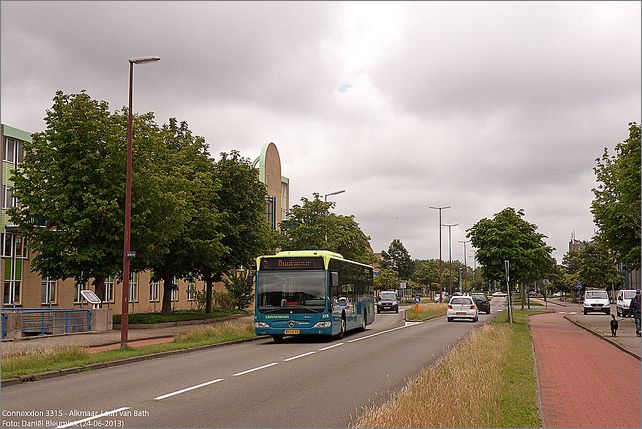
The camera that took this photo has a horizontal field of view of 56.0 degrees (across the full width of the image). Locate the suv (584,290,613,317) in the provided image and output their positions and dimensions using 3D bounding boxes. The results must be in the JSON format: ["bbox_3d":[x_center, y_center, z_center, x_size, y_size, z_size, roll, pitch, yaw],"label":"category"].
[{"bbox_3d":[23.655,7.336,51.712,2.033,2.241,2.872,-5,-12,23],"label":"suv"}]

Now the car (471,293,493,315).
[{"bbox_3d":[15.008,7.967,56.607,1.780,1.726,4.278,-2,-14,16],"label":"car"}]

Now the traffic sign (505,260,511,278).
[{"bbox_3d":[10.365,2.872,33.472,0.298,0.325,1.158,3,-51,27],"label":"traffic sign"}]

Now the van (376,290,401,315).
[{"bbox_3d":[6.788,8.721,61.380,2.084,2.259,2.894,-2,-11,4],"label":"van"}]
